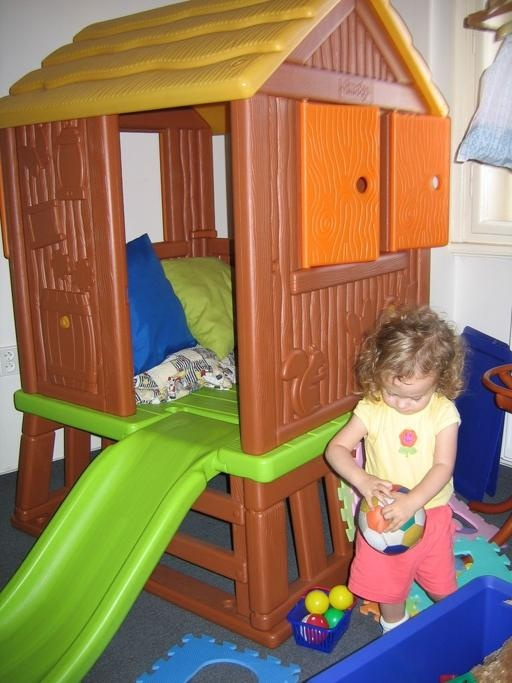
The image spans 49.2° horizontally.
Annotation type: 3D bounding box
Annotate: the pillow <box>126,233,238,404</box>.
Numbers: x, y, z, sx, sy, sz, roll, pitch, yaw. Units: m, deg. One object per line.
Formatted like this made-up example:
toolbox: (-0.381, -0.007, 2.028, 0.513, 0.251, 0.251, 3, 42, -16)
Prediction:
pillow: (-0.251, -0.064, 1.942, 0.484, 0.533, 0.163, -3, -17, -46)

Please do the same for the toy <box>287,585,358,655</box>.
toy: (0.156, 0.640, 1.322, 0.108, 0.056, 0.139, 3, 10, 30)

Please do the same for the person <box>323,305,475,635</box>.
person: (0.309, 0.327, 1.270, 0.285, 0.771, 0.390, 1, 14, 21)

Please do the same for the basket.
basket: (0.148, 0.649, 1.310, 0.090, 0.048, 0.119, 3, 8, 27)
